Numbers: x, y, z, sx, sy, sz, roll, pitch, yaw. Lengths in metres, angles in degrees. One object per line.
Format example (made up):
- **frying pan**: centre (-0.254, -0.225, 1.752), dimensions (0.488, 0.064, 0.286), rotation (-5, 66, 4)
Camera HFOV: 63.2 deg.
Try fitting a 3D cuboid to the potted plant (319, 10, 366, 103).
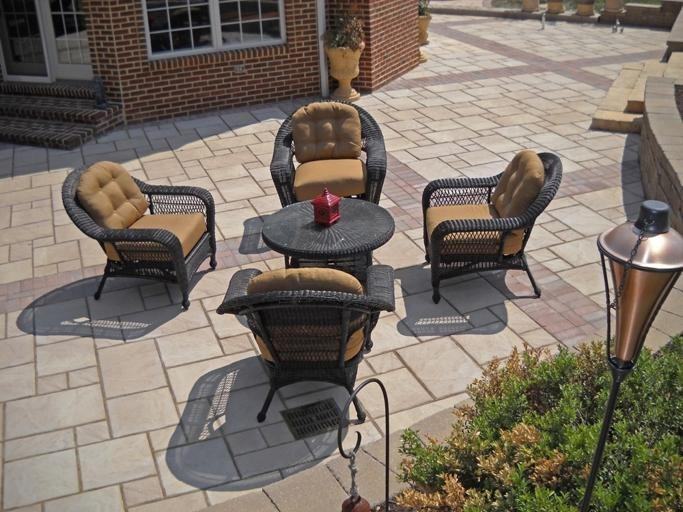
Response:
- **potted plant**: centre (0.049, -4.013, 11.293), dimensions (0.853, 1.591, 1.032), rotation (1, 34, -2)
